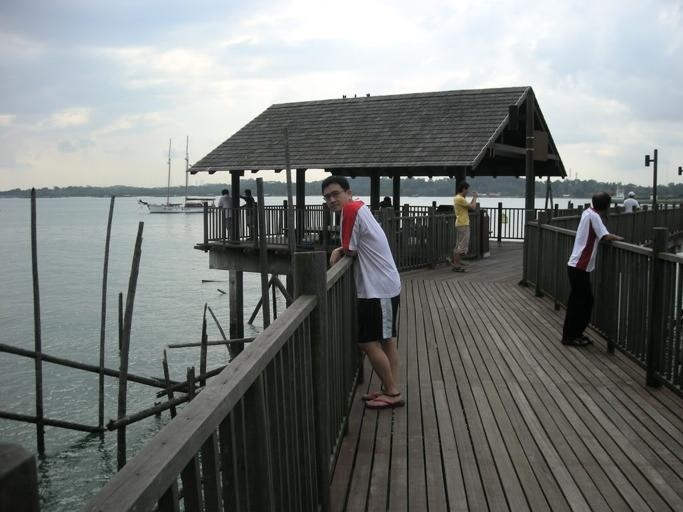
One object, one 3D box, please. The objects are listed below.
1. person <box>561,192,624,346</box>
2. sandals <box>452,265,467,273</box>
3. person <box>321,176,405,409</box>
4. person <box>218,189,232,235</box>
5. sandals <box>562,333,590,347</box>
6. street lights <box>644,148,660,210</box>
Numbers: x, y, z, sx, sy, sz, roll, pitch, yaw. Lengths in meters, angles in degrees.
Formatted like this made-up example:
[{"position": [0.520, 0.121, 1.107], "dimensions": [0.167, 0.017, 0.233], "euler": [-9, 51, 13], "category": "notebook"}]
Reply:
[{"position": [3.091, 0.210, 7.353], "dimensions": [0.547, 1.953, 0.889], "euler": [-5, 4, -1], "category": "person"}, {"position": [3.034, 0.361, 15.267], "dimensions": [0.140, 0.213, 0.460], "euler": [-7, -2, -36], "category": "sandals"}, {"position": [0.286, 0.482, 5.388], "dimensions": [0.518, 1.992, 0.580], "euler": [-2, 5, 36], "category": "person"}, {"position": [-4.075, -1.516, 20.848], "dimensions": [0.444, 1.162, 1.368], "euler": [-6, 5, -11], "category": "person"}, {"position": [3.067, 1.104, 7.702], "dimensions": [0.350, 0.180, 0.148], "euler": [-6, 10, 8], "category": "sandals"}, {"position": [14.732, -3.593, 27.808], "dimensions": [0.406, 2.848, 0.732], "euler": [-9, 10, -23], "category": "street lights"}]
